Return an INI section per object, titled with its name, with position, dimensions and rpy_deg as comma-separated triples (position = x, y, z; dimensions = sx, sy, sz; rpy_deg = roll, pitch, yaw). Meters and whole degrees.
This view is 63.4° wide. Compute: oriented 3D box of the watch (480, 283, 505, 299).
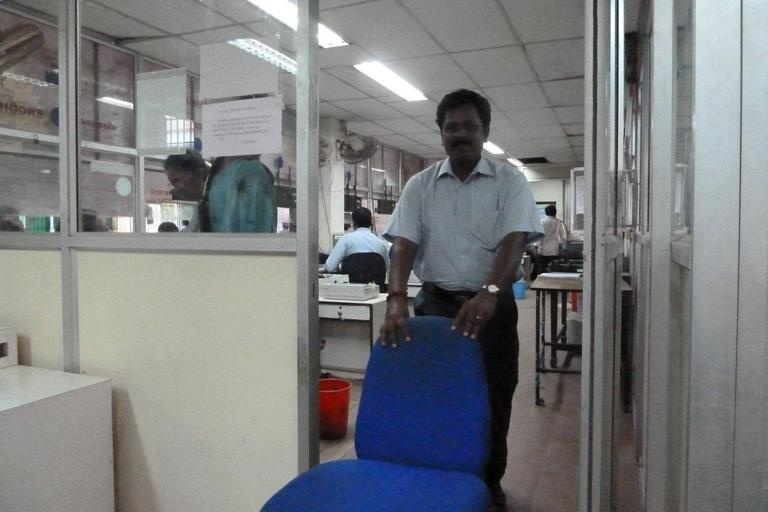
[watch]
position = 0.449, 0.135, 2.536
dimensions = 0.098, 0.047, 0.074
rpy_deg = 0, 0, -6

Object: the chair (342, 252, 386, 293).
[chair]
position = -0.155, 0.132, 5.698
dimensions = 0.325, 0.448, 0.372
rpy_deg = 1, 7, 0

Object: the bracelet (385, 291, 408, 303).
[bracelet]
position = 0.056, 0.163, 2.560
dimensions = 0.077, 0.039, 0.079
rpy_deg = 0, 0, -2
